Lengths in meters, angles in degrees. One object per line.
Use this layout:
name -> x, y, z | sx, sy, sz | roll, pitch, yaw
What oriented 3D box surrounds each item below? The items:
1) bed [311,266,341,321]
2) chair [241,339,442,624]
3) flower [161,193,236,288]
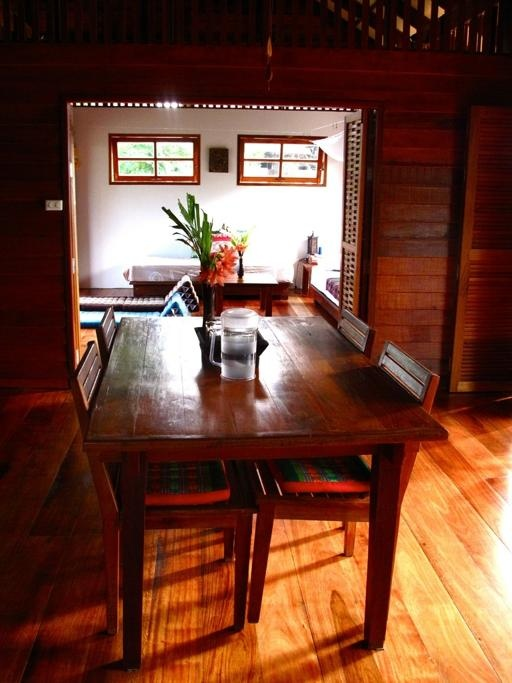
bed -> 0.862, -0.580, 6.179 | 0.262, 0.441, 0.900 | 0, 24, -3
chair -> 0.183, 0.325, 1.864 | 0.755, 1.091, 0.671 | 2, 18, -2
flower -> -0.199, -0.330, 2.016 | 0.224, 0.397, 0.189 | 12, 7, -3
